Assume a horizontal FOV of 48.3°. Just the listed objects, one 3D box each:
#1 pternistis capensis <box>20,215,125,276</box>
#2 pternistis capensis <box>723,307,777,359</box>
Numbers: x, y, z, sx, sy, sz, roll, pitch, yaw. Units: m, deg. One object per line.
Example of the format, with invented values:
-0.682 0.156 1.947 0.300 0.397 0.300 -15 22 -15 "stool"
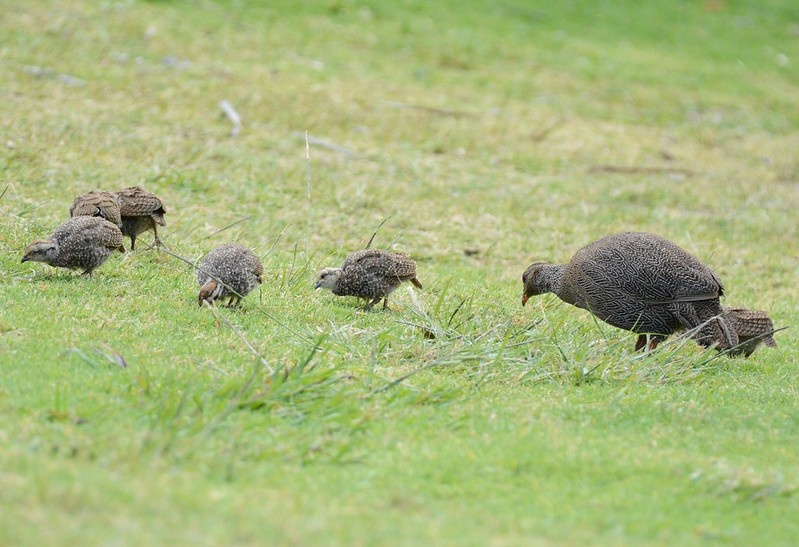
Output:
-2.732 -0.237 7.604 0.456 0.479 0.842 15 31 30 "pternistis capensis"
2.819 0.471 7.217 0.561 0.315 0.315 11 15 39 "pternistis capensis"
